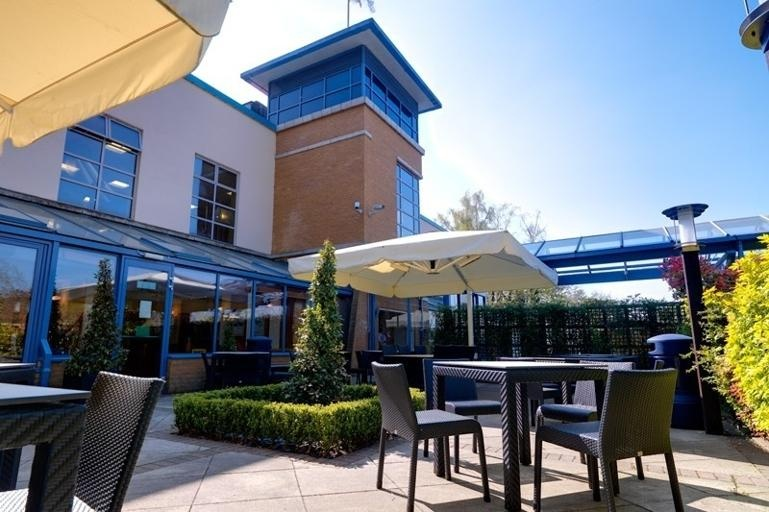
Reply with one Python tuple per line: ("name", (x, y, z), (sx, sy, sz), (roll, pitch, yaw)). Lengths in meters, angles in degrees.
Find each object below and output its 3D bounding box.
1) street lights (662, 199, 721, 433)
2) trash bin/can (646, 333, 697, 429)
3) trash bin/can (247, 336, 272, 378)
("street lights", (4.984, 0.951, 7.543), (0.599, 3.529, 0.671), (-6, -12, 26))
("trash bin/can", (4.946, 2.134, 8.226), (0.891, 1.458, 0.902), (-3, -11, 26))
("trash bin/can", (-2.699, 2.149, 10.187), (0.639, 0.986, 0.637), (0, -11, -3))
